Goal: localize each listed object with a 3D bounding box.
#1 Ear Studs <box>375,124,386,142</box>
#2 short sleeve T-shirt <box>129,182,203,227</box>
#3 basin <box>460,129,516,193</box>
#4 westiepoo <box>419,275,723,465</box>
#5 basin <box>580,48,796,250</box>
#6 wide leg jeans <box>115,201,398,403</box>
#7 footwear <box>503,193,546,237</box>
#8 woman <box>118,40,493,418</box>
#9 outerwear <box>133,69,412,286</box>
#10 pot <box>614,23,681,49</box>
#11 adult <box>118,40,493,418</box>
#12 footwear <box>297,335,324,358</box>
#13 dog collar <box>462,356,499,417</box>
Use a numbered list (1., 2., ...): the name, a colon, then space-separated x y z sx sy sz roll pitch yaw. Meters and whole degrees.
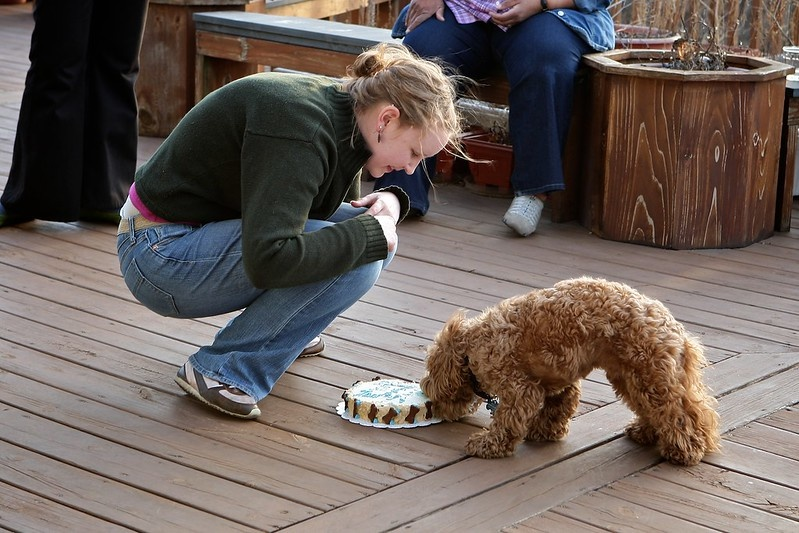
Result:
1. Ear Studs: -0.056 -0.384 2.282 0.038 0.041 0.031 -10 0 4
2. short sleeve T-shirt: -0.788 -0.208 2.541 0.157 0.039 0.153 27 -3 -4
3. basin: 0.523 -0.595 4.469 0.340 0.243 0.285 14 26 26
4. westiepoo: 0.606 0.263 2.464 1.138 0.619 0.382 1 12 15
5. basin: 1.358 -0.641 4.048 0.957 0.699 0.938 1 17 0
6. wide leg jeans: -0.483 0.038 2.675 0.741 0.487 0.592 11 12 -7
7. footwear: 0.613 -0.250 3.872 0.115 0.122 0.289 30 12 -2
8. woman: -0.373 -0.142 2.599 1.018 1.116 0.855 10 10 12
9. outerwear: -0.414 -0.298 2.369 0.685 0.468 0.674 20 12 -7
10. pot: 1.413 -1.325 4.589 0.340 0.133 0.641 7 17 13
11. adult: -0.377 -0.150 2.573 1.038 1.139 0.824 7 9 -5
12. footwear: -0.303 0.280 2.818 0.051 0.046 0.110 -5 14 38
13. dog collar: 0.213 0.368 2.459 0.064 0.166 0.126 -29 0 36
